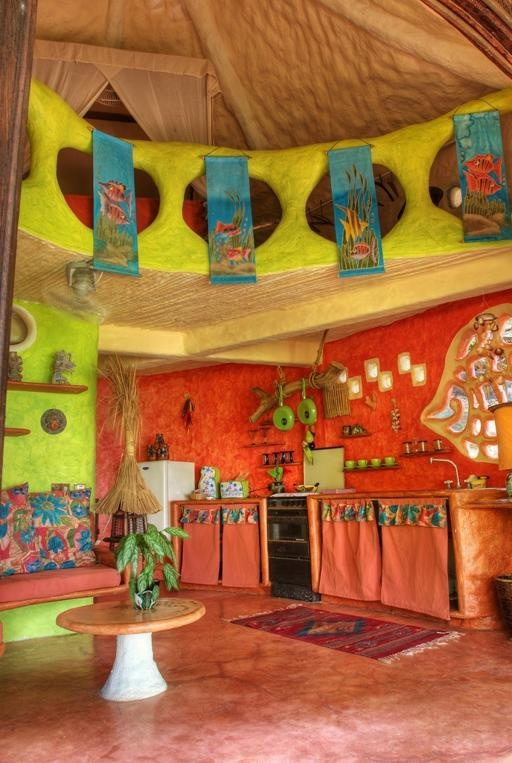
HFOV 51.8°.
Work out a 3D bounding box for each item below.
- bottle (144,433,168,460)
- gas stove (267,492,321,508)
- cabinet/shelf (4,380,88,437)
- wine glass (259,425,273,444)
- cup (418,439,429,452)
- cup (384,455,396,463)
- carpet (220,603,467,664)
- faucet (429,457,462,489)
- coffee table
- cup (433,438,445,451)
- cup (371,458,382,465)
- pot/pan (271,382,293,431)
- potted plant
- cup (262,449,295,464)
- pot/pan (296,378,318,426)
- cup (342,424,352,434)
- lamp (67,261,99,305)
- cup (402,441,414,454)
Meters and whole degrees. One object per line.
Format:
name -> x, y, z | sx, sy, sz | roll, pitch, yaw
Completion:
bottle -> -1.416, 0.942, 7.556 | 0.348, 0.368, 0.349 | -8, -12, 33
gas stove -> 0.373, 1.285, 5.602 | 0.249, 0.179, 0.729 | 5, -11, -23
cabinet/shelf -> -1.725, 0.242, 4.391 | 0.635, 0.465, 0.321 | 7, -12, -31
wine glass -> 0.144, 0.725, 7.302 | 0.209, 0.254, 0.205 | -3, -7, 17
cup -> 1.676, 0.661, 5.387 | 0.099, 0.108, 0.100 | -1, -1, 0
cup -> 1.415, 0.857, 5.747 | 0.079, 0.056, 0.064 | 3, -11, -8
carpet -> 0.620, 1.884, 4.014 | 0.930, 0.154, 1.689 | 7, -12, -34
faucet -> 1.824, 0.900, 5.228 | 0.114, 0.290, 0.363 | 6, -12, -29
coffee table -> -0.627, 1.328, 2.632 | 0.615, 0.366, 0.616 | 14, -27, -42
cup -> 1.784, 0.644, 5.306 | 0.101, 0.115, 0.101 | -1, -3, 0
cup -> 1.314, 0.895, 5.895 | 0.070, 0.054, 0.070 | 0, -9, 0
pot/pan -> 0.349, 0.344, 6.951 | 0.271, 0.611, 0.425 | 0, -10, 2
potted plant -> -0.607, 0.988, 2.822 | 0.336, 0.398, 0.343 | 0, -3, -33
cup -> 0.270, 1.036, 7.124 | 0.128, 0.209, 0.549 | 10, -13, -41
pot/pan -> 0.634, 0.287, 6.749 | 0.255, 0.568, 0.447 | 0, -10, 4
cup -> 1.053, 0.581, 6.351 | 0.102, 0.116, 0.101 | 4, -9, 1
lamp -> -1.229, -0.762, 3.981 | 0.198, 0.237, 0.390 | 0, 20, -3
cup -> 1.575, 0.713, 5.603 | 0.114, 0.117, 0.096 | -6, -10, 39
